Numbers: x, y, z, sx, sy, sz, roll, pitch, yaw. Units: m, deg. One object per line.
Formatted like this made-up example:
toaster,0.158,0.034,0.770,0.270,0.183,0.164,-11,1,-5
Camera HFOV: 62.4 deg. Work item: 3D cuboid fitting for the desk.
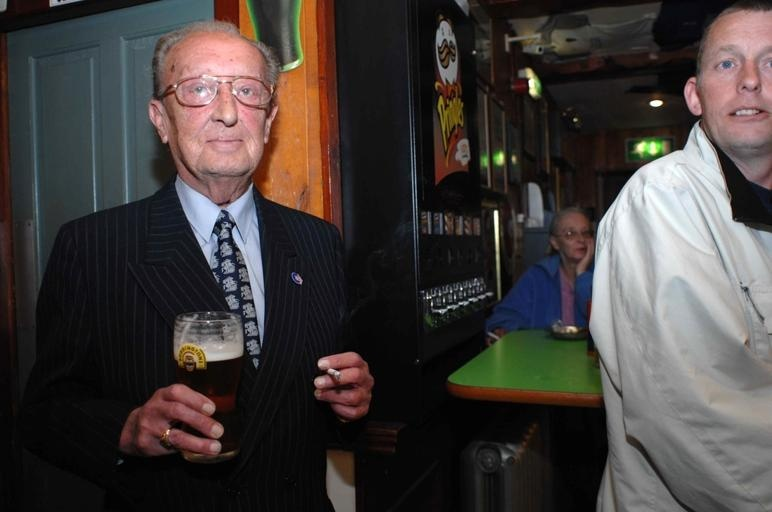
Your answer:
desk,0.715,0.571,3.259,0.683,0.287,0.991,-4,-1,15

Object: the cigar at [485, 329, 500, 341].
cigar,0.732,0.540,4.417,0.045,0.041,0.174,-3,6,-10

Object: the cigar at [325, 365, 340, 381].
cigar,-0.185,0.407,2.207,0.035,0.026,0.049,27,-10,-9

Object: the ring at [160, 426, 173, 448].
ring,-0.684,0.570,1.989,0.026,0.046,0.064,-3,-1,-37

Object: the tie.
tie,-0.575,0.098,2.413,0.141,0.622,0.105,-1,-18,-37
